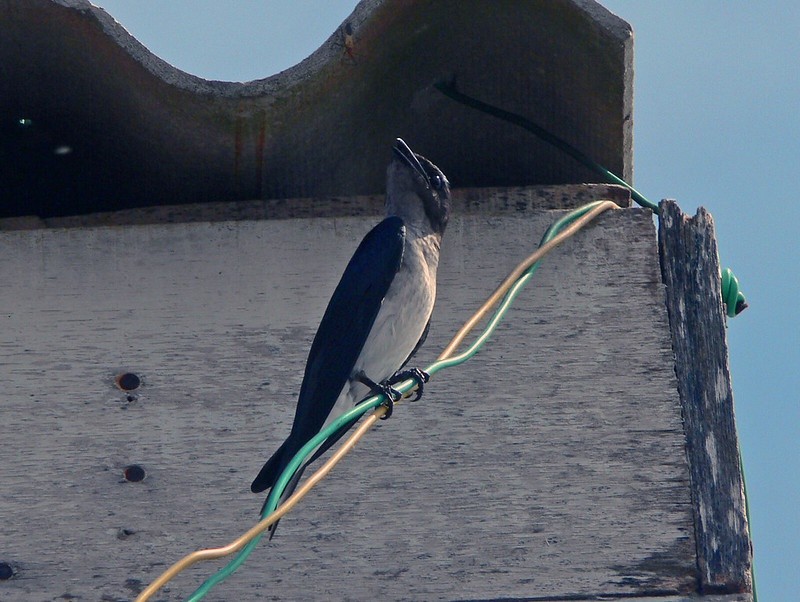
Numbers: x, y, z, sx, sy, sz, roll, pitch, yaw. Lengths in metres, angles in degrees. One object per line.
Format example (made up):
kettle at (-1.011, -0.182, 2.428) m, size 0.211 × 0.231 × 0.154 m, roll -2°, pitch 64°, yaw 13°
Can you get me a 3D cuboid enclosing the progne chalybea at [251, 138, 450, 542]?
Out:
progne chalybea at (-0.098, 0.065, 7.482) m, size 0.386 × 1.034 × 0.626 m, roll 19°, pitch -42°, yaw -10°
